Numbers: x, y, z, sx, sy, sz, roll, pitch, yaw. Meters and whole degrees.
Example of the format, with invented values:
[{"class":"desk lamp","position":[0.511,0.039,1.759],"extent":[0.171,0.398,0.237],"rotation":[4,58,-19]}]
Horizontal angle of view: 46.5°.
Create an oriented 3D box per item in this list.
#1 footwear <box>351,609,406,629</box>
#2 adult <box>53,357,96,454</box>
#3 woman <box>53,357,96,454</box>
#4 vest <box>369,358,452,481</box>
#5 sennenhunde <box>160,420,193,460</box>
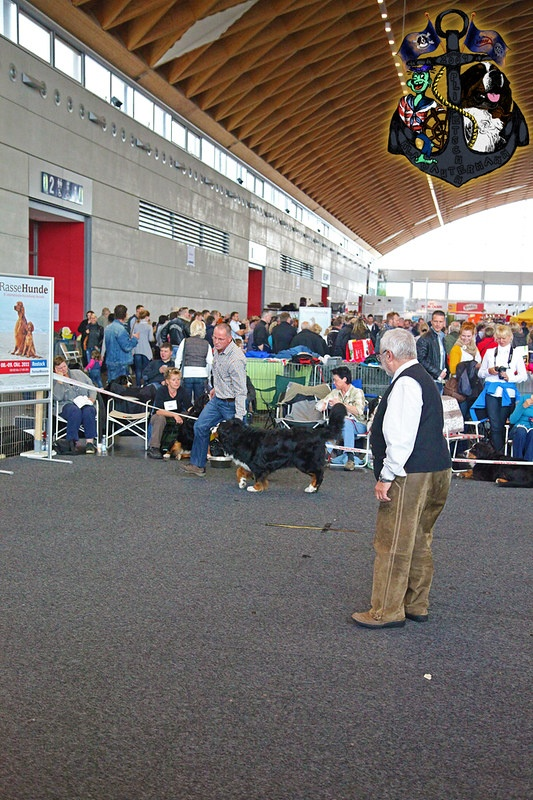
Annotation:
[{"class":"footwear","position":[0.608,1.184,3.391],"extent":[0.274,0.127,0.101],"rotation":[7,-3,-5]},{"class":"adult","position":[-2.653,0.092,8.598],"extent":[0.588,1.325,1.235],"rotation":[1,6,-18]},{"class":"woman","position":[-2.653,0.092,8.598],"extent":[0.588,1.325,1.235],"rotation":[1,6,-18]},{"class":"vest","position":[0.834,0.085,3.642],"extent":[0.524,0.828,0.651],"rotation":[-2,4,13]},{"class":"sennenhunde","position":[-1.231,0.500,8.814],"extent":[0.371,0.599,0.608],"rotation":[9,38,1]}]
